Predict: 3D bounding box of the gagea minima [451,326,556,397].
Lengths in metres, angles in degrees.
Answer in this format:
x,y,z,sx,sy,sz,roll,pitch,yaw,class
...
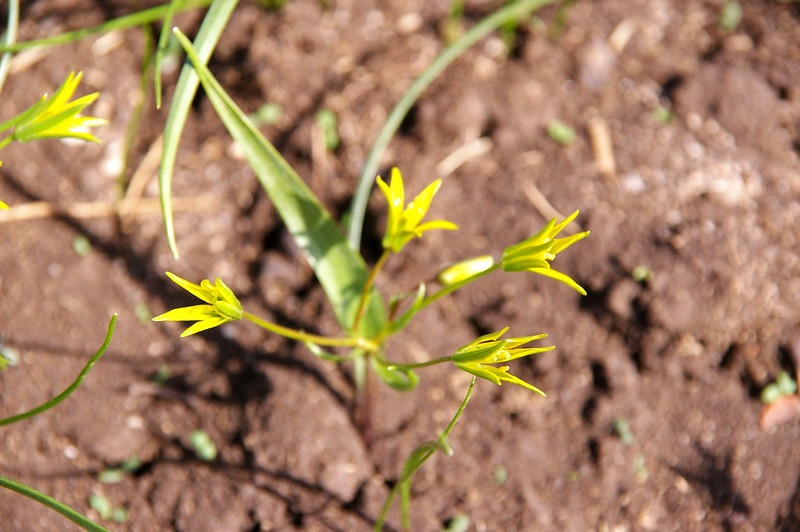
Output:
x,y,z,sx,sy,sz,roll,pitch,yaw,class
0.303,0.254,2.593,0.308,0.207,0.140,8,35,13,gagea minima

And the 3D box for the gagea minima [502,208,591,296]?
x,y,z,sx,sy,sz,roll,pitch,yaw,class
0.416,-0.027,2.571,0.249,0.203,0.171,-12,40,-10,gagea minima

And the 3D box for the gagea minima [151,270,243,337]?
x,y,z,sx,sy,sz,roll,pitch,yaw,class
-0.565,0.097,2.508,0.223,0.114,0.181,8,34,6,gagea minima
